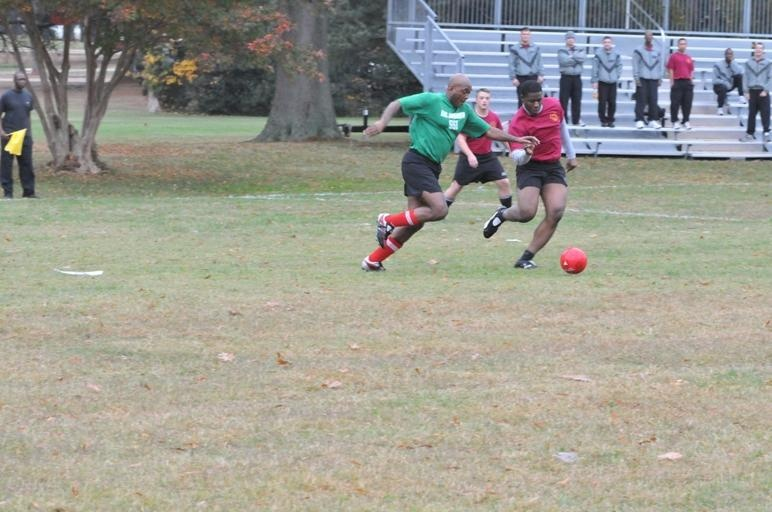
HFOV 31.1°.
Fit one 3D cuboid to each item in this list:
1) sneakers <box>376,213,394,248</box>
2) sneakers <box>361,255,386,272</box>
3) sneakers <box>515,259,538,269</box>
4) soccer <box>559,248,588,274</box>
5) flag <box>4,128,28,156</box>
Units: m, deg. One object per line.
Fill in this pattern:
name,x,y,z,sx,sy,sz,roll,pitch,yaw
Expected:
sneakers,-0.016,-0.353,19.232,0.355,0.441,0.196,8,15,18
sneakers,-0.191,0.133,19.267,0.347,0.129,0.150,2,-23,-45
sneakers,1.966,0.119,19.490,0.380,0.097,0.112,0,5,9
soccer,2.606,0.076,19.117,0.356,0.337,0.329,0,7,4
flag,-6.918,-2.095,25.739,0.403,0.473,0.357,-1,7,-4
